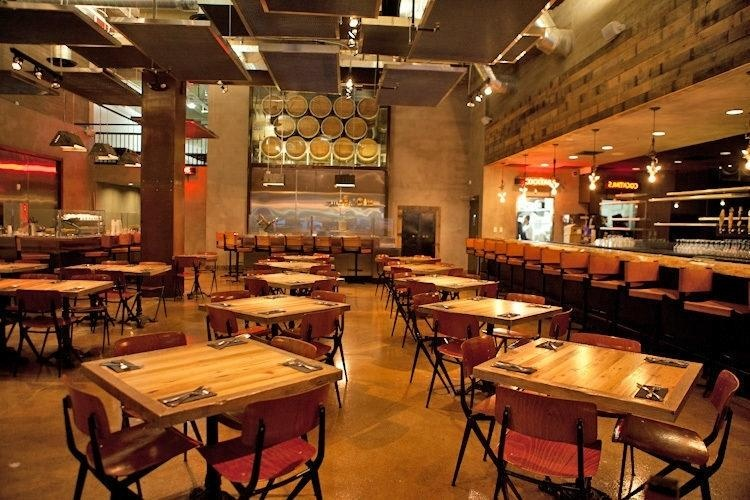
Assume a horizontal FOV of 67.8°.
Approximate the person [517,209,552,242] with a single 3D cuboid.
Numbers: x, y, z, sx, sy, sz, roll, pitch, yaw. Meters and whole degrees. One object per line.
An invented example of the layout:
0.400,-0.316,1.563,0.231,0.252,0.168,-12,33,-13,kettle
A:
4.807,-0.784,16.721,1.106,1.010,0.595,0,-1,8,person
